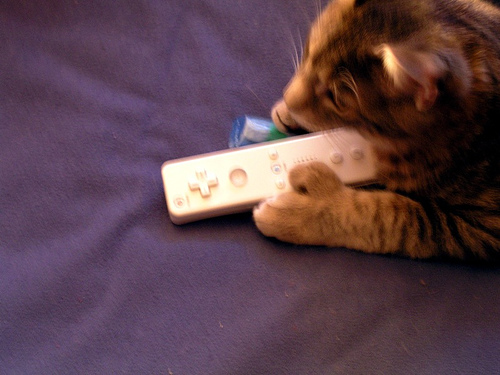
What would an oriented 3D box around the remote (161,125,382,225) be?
[{"bbox_3d":[0.080,-0.023,0.977,0.495,0.053,0.161,-9,70,-21],"label":"remote"}]
